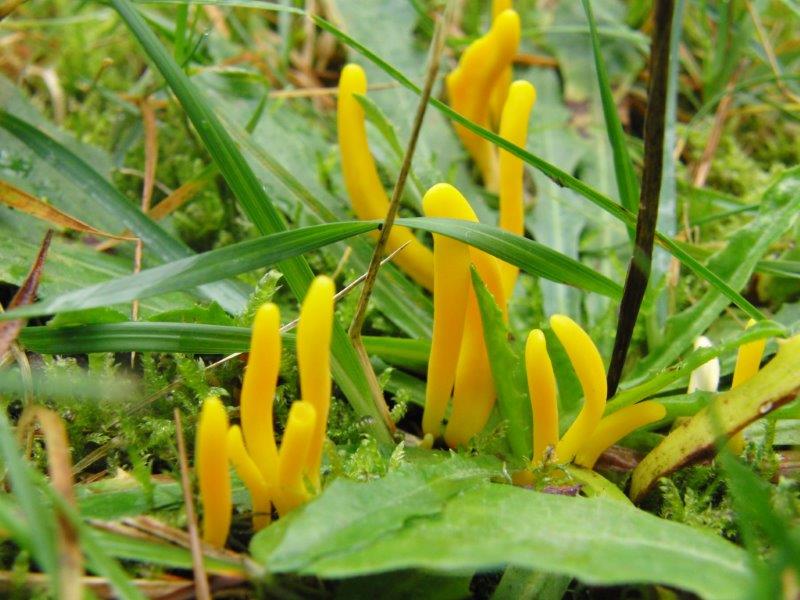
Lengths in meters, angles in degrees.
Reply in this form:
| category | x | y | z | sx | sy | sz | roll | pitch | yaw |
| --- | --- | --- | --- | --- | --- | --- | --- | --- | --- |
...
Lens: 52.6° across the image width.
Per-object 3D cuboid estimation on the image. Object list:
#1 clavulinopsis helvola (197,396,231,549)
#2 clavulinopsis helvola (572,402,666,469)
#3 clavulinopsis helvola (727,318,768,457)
| category | x | y | z | sx | sy | sz | roll | pitch | yaw |
| --- | --- | --- | --- | --- | --- | --- | --- | --- | --- |
| clavulinopsis helvola | -0.186 | 0.174 | 0.816 | 0.026 | 0.141 | 0.026 | 1 | -9 | -19 |
| clavulinopsis helvola | 0.262 | 0.161 | 0.982 | 0.141 | 0.044 | 0.035 | -23 | 13 | -16 |
| clavulinopsis helvola | 0.407 | 0.109 | 0.946 | 0.026 | 0.164 | 0.021 | 12 | 9 | -8 |
